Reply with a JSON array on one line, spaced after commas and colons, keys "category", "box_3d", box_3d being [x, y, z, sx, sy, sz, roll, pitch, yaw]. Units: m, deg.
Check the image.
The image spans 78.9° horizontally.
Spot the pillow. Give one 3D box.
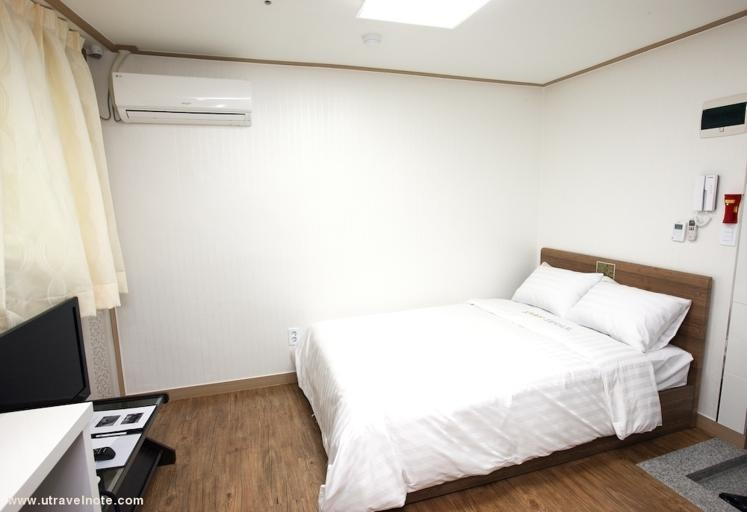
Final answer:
[{"category": "pillow", "box_3d": [2.001, 0.370, 3.784, 0.578, 0.301, 1.325, -20, 18, -21]}]

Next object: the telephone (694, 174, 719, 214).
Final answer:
[{"category": "telephone", "box_3d": [2.511, -0.477, 3.431, 0.057, 0.260, 0.156, 7, -1, -44]}]

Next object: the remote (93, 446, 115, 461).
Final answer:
[{"category": "remote", "box_3d": [-1.661, 1.217, 2.810, 0.132, 0.036, 0.064, 12, 27, -25]}]
